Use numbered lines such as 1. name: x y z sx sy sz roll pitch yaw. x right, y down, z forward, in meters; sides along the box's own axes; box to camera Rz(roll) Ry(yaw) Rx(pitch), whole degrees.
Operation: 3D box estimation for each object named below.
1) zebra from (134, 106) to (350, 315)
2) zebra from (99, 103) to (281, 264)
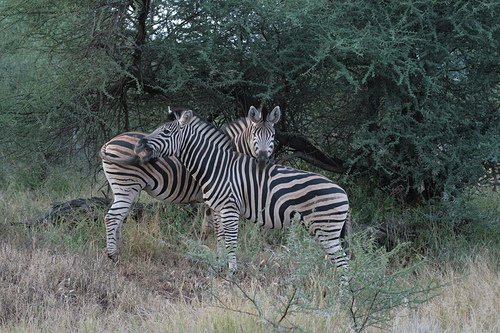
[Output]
1. zebra: -0.169 0.664 7.660 3.221 2.222 0.771 17 5 0
2. zebra: -0.876 0.340 8.276 3.218 2.432 0.853 4 4 -9
